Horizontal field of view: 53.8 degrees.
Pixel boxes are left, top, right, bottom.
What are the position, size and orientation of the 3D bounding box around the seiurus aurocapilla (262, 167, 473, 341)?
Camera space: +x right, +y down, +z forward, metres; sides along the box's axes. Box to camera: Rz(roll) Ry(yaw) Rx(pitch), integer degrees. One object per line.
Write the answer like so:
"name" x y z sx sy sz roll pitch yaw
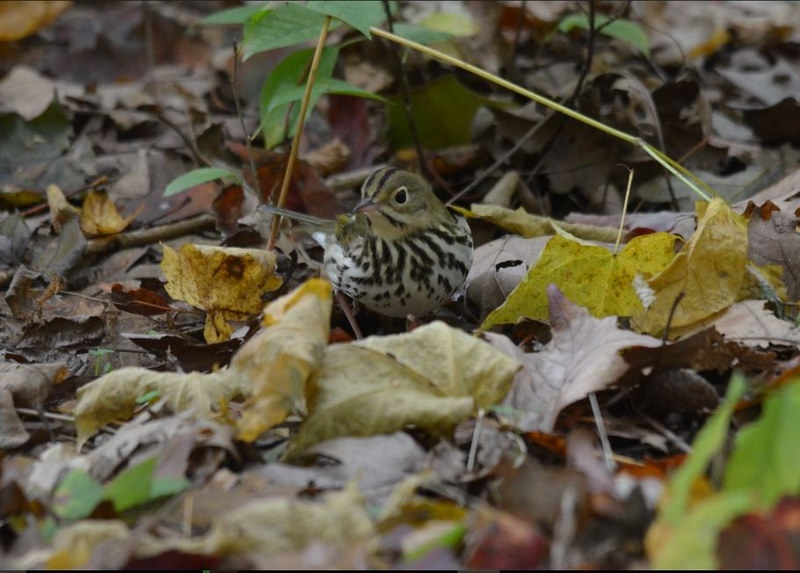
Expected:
"seiurus aurocapilla" -0.012 -0.170 3.250 0.698 0.303 0.643 -27 66 -11
